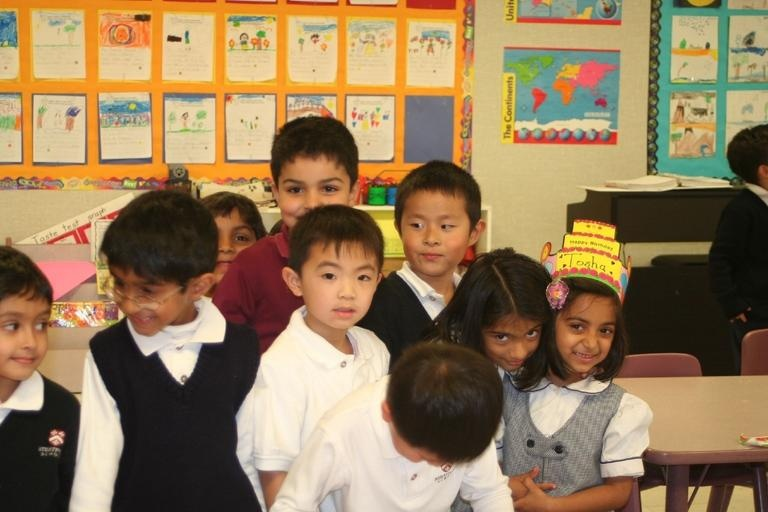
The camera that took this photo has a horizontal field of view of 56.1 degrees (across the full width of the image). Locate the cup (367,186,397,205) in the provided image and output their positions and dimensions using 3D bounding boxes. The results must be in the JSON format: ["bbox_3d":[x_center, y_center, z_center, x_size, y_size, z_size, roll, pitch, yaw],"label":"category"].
[{"bbox_3d":[-0.004,-0.391,4.860,0.209,0.151,0.210,1,4,0],"label":"cup"}]

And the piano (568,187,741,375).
[{"bbox_3d":[1.553,0.140,4.040,1.211,1.110,0.654,-1,8,3],"label":"piano"}]

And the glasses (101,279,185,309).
[{"bbox_3d":[-0.800,0.138,2.397,0.250,0.062,0.065,0,5,5],"label":"glasses"}]
